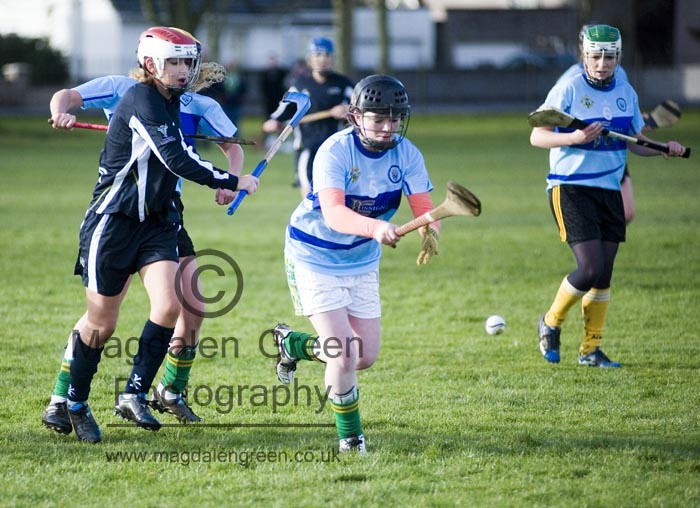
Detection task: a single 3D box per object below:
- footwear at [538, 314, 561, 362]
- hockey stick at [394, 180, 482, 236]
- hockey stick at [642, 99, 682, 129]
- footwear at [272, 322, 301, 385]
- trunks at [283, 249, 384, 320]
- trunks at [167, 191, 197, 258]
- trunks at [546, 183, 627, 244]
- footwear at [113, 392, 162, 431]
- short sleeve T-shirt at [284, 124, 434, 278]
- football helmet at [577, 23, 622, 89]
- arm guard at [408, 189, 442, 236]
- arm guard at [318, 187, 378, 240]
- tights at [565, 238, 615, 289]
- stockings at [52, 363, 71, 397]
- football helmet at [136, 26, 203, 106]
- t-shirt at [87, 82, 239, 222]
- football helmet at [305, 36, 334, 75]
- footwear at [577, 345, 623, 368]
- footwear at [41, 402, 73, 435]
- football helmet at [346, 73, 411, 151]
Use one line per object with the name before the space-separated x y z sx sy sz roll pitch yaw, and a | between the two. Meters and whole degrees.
footwear | 1.799 0.763 10.626 0.150 0.407 0.172 -3 -19 -11
hockey stick | 0.687 -0.258 8.618 0.574 0.356 0.293 -32 -24 7
hockey stick | 2.991 -1.339 11.308 0.494 0.271 0.083 -20 -1 -20
footwear | -0.540 0.846 9.730 0.179 0.524 0.237 -6 27 -7
trunks | -0.135 0.330 9.111 0.818 0.697 0.463 0 -8 -27
trunks | -1.334 -0.243 9.328 0.138 0.521 0.156 -9 24 -4
trunks | 2.167 -0.360 10.556 0.685 0.557 0.450 0 -14 -21
footwear | -1.692 1.248 9.375 0.539 0.254 0.198 15 -3 40
short sleeve T-shirt | 0.004 -0.419 9.028 0.908 1.151 0.845 0 17 -38
football helmet | 2.209 -1.762 10.316 0.361 0.550 0.347 3 11 10
arm guard | 0.522 -0.315 8.944 0.092 0.301 0.312 -18 -4 40
arm guard | -0.012 -0.314 8.620 0.226 0.320 0.477 -8 14 -38
tights | 2.162 0.042 10.459 0.512 0.508 0.399 -2 2 -40
stockings | -2.275 0.996 9.288 0.071 0.231 0.054 12 -10 -31
football helmet | -1.398 -1.530 9.093 0.527 0.508 0.440 4 18 18
t-shirt | -1.399 -0.784 9.096 1.224 1.148 0.995 4 8 -14
football helmet | -0.372 -2.580 15.111 0.322 0.475 0.424 0 11 -3
footwear | 2.230 0.933 10.456 0.425 0.182 0.147 0 0 14
footwear | -2.288 1.285 9.170 0.133 0.175 0.363 2 -20 30
football helmet | 0.145 -1.102 8.855 0.489 0.523 0.558 -3 17 -12
